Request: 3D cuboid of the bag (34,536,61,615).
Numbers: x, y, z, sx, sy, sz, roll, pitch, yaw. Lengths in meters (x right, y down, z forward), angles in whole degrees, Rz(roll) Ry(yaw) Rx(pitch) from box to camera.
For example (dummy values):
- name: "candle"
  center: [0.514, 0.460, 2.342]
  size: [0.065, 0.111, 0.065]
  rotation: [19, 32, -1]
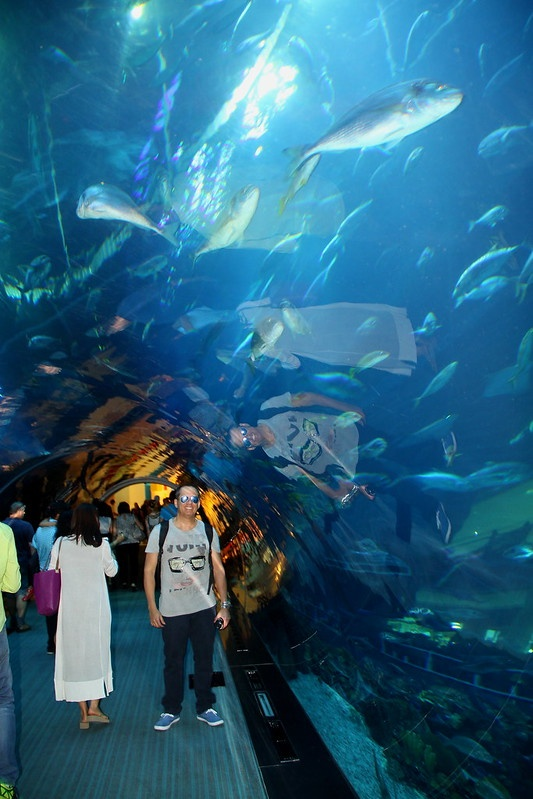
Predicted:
- name: "bag"
  center: [-1.861, 1.542, 4.114]
  size: [0.248, 0.564, 0.157]
  rotation: [-4, -8, -7]

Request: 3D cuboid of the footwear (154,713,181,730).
- name: "footwear"
  center: [-0.861, 2.771, 4.174]
  size: [0.105, 0.104, 0.260]
  rotation: [-3, -24, 15]

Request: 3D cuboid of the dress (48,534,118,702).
- name: "dress"
  center: [-1.614, 1.799, 4.277]
  size: [0.581, 1.685, 0.485]
  rotation: [-1, 5, -14]

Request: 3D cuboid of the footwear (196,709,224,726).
- name: "footwear"
  center: [-0.503, 2.791, 4.257]
  size: [0.276, 0.106, 0.112]
  rotation: [-13, -22, 41]

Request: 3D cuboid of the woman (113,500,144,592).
- name: "woman"
  center: [-3.250, 3.422, 11.325]
  size: [0.794, 1.964, 0.601]
  rotation: [-1, -1, 2]
